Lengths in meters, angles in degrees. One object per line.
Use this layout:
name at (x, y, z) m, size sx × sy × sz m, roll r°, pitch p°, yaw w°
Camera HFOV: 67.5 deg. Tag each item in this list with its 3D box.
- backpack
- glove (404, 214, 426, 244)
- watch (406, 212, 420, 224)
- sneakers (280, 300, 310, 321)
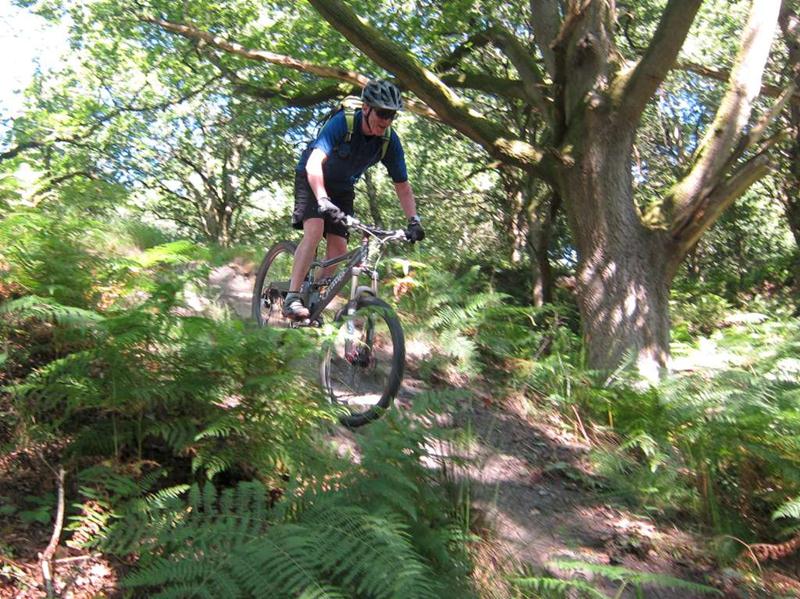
backpack at (-0.415, -1.733, 5.950) m, size 0.413 × 0.672 × 0.614 m, roll 10°, pitch 17°, yaw -19°
glove at (0.120, -0.705, 6.075) m, size 0.180 × 0.139 × 0.304 m, roll 2°, pitch 33°, yaw -28°
watch at (0.125, -0.829, 6.183) m, size 0.098 × 0.067 × 0.109 m, roll 0°, pitch -12°, yaw -42°
sneakers at (-1.068, 0.113, 6.001) m, size 0.127 × 0.168 × 0.359 m, roll 18°, pitch -17°, yaw -32°
